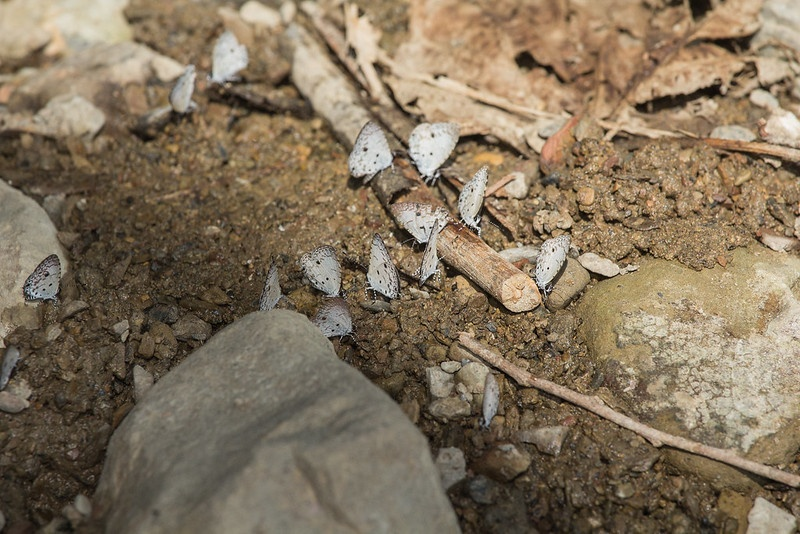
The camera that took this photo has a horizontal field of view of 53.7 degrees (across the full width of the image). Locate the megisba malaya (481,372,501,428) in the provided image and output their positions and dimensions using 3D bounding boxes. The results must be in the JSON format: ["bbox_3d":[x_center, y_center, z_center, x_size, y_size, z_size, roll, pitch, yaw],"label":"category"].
[{"bbox_3d":[0.869,1.278,7.636,0.148,0.138,0.518,2,87,6],"label":"megisba malaya"}]
